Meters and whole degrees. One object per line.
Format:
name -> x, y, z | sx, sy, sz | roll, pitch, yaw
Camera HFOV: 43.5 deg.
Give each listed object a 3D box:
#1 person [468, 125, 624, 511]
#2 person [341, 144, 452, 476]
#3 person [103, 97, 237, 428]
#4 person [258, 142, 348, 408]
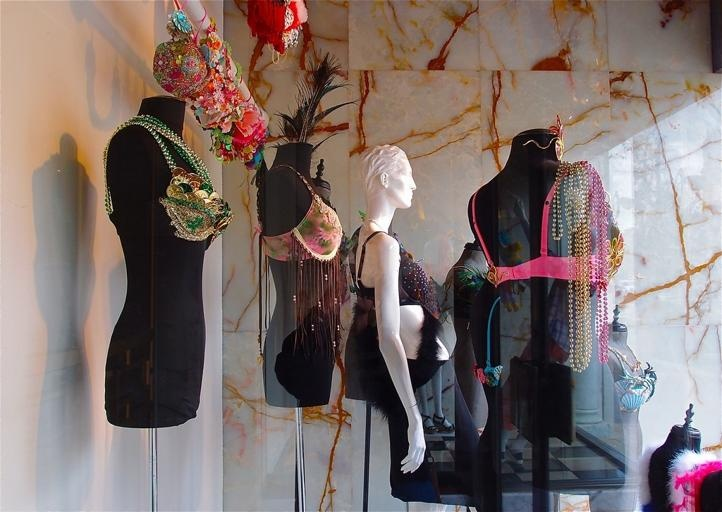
person -> 0.871, 0.291, 4.240 | 0.729, 1.722, 0.472 | -3, -15, 6
person -> 0.157, 0.247, 4.199 | 0.314, 1.464, 0.442 | -11, -17, 32
person -> -0.821, 0.019, 3.813 | 0.521, 1.340, 0.322 | 3, -15, -17
person -> -0.284, 0.085, 4.260 | 0.389, 1.195, 0.356 | -1, -15, -2
